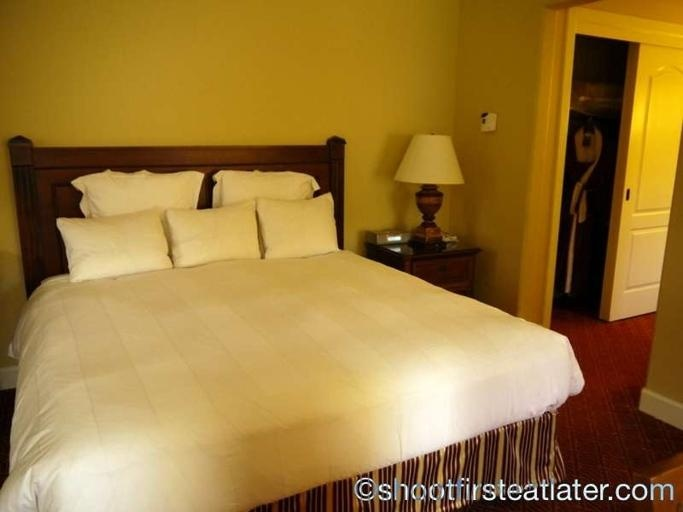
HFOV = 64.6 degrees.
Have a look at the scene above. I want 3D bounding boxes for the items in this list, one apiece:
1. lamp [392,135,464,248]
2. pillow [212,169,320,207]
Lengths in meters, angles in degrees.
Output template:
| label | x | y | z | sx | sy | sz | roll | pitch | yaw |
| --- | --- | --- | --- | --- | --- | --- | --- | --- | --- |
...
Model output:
| label | x | y | z | sx | sy | sz | roll | pitch | yaw |
| --- | --- | --- | --- | --- | --- | --- | --- | --- | --- |
| lamp | 0.737 | -0.540 | 4.454 | 0.573 | 0.896 | 0.605 | -1 | 9 | -11 |
| pillow | -0.556 | -0.449 | 4.086 | 0.734 | 0.242 | 0.461 | 2 | 46 | -14 |
